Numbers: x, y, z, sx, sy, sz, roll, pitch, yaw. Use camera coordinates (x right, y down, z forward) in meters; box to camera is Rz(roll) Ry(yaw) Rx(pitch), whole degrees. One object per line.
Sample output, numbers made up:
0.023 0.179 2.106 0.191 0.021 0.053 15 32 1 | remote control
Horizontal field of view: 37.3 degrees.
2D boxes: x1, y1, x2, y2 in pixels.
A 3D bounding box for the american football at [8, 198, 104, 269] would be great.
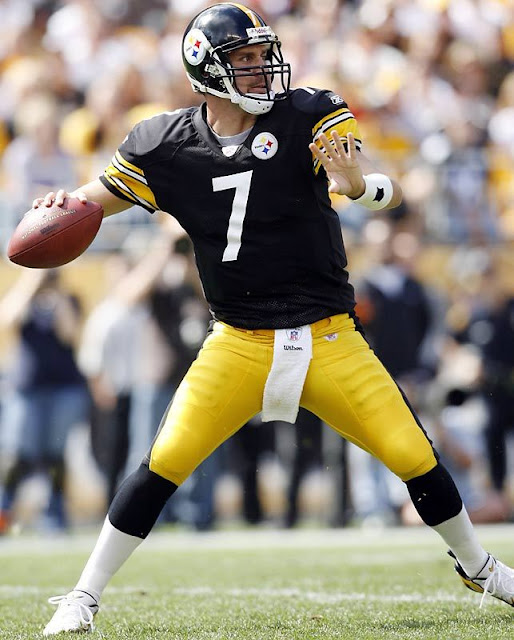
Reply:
-0.517 -0.221 2.027 0.241 0.133 0.170 -24 -6 -2 | american football
